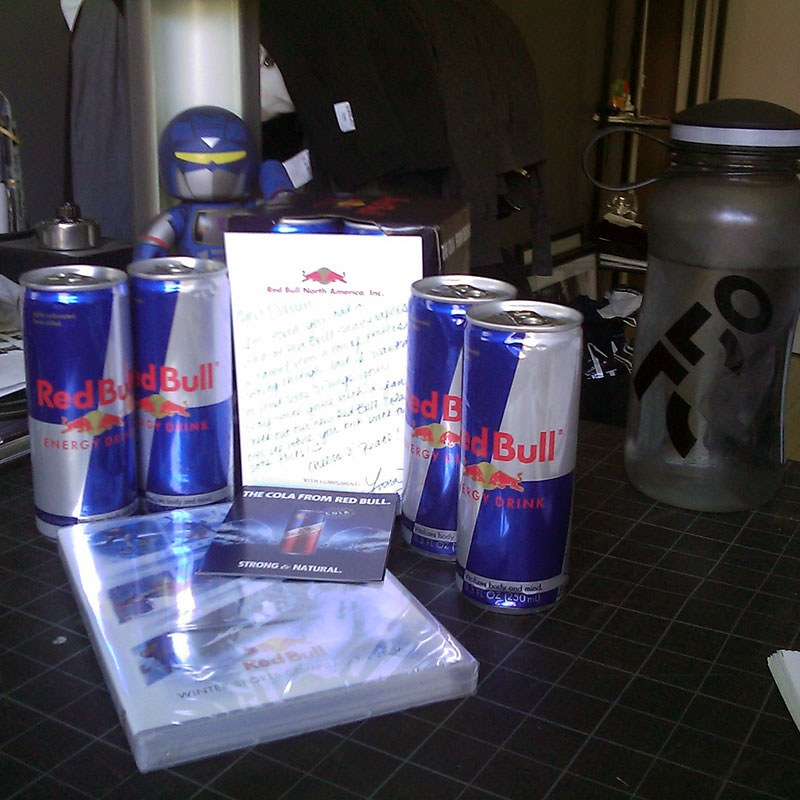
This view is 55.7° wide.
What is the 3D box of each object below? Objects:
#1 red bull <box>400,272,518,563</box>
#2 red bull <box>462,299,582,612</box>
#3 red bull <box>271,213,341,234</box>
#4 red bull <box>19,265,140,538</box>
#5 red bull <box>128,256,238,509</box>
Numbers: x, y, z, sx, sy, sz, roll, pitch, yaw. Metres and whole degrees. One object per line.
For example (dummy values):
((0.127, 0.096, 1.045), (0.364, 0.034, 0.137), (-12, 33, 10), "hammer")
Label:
((0.026, 0.013, 0.574), (0.069, 0.229, 0.077), (-7, 28, -16), "red bull")
((0.078, 0.035, 0.552), (0.088, 0.200, 0.091), (12, 17, 39), "red bull")
((-0.079, -0.149, 0.649), (0.060, 0.014, 0.026), (-2, 20, -6), "red bull")
((-0.256, 0.008, 0.612), (0.112, 0.196, 0.106), (-3, 10, -25), "red bull")
((-0.184, -0.006, 0.639), (0.081, 0.199, 0.078), (-4, 12, -33), "red bull")
